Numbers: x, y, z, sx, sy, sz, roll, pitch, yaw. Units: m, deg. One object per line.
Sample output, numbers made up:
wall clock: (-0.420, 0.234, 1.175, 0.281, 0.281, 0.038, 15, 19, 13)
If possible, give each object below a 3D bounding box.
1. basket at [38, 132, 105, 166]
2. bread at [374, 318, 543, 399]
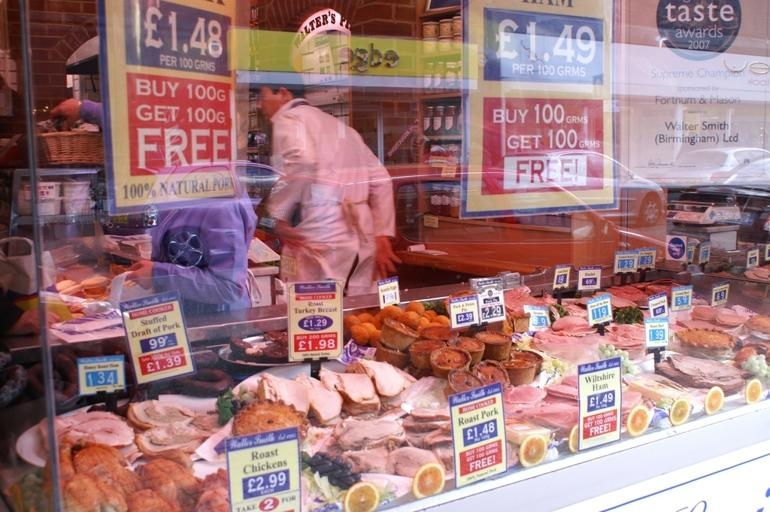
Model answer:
basket: (-0.987, -0.336, 1.689, 0.153, 0.115, 0.190, 7, 15, 41)
bread: (0.249, 0.345, 1.860, 0.422, 0.119, 0.267, 8, 11, 17)
